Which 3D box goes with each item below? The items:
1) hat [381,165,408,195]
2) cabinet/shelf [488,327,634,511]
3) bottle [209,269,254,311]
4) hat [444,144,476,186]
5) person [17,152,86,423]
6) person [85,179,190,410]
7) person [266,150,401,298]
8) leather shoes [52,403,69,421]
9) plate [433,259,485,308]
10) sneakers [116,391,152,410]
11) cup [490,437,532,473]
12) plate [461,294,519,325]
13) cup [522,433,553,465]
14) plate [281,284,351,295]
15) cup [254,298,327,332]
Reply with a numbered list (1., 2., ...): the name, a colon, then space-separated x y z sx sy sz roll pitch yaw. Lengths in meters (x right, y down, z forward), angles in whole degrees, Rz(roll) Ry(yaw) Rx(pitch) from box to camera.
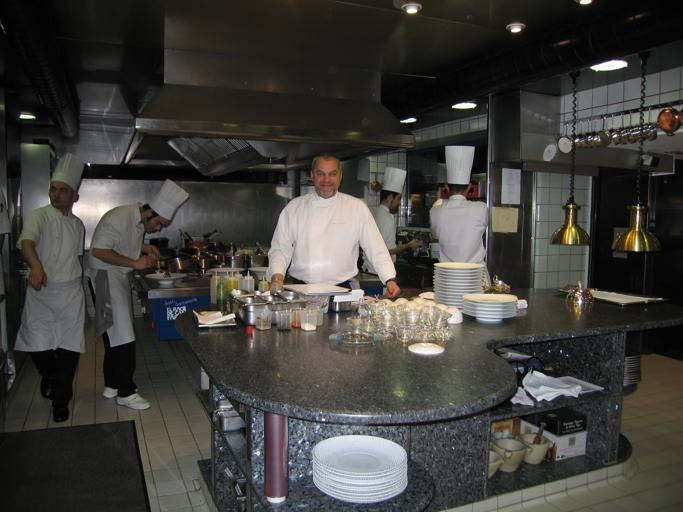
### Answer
1. hat: 0.626 -0.895 5.850 0.310 0.330 0.319 20 16 41
2. cabinet/shelf: 1.233 0.960 3.351 1.269 0.854 0.695 -6 -14 12
3. bottle: -0.739 0.209 3.193 0.280 0.266 0.284 1 -2 -1
4. hat: 1.033 -0.805 4.383 0.222 0.351 0.273 2 7 9
5. person: -2.314 0.198 3.943 0.528 2.055 0.762 -3 8 -27
6. person: -1.792 0.273 4.247 0.681 1.857 0.783 -1 8 -10
7. person: -0.078 -0.226 3.368 0.845 0.884 0.577 0 7 -7
8. leather shoes: -2.175 1.173 3.772 0.092 0.121 0.144 4 1 -13
9. plate: 0.719 0.168 3.137 0.289 0.198 0.279 -1 2 -34
10. sneakers: -1.690 1.179 4.088 0.302 0.111 0.119 4 1 11
11. cup: 0.994 1.150 2.922 0.182 0.132 0.192 -1 -7 0
12. plate: 0.872 0.294 2.886 0.327 0.136 0.237 2 7 8
13. cup: 1.175 1.157 2.990 0.183 0.132 0.181 1 -8 0
14. plate: -0.161 0.200 2.849 0.396 0.036 0.283 1 7 1
15. cup: -0.283 0.298 2.619 0.380 0.154 0.140 1 7 -2
